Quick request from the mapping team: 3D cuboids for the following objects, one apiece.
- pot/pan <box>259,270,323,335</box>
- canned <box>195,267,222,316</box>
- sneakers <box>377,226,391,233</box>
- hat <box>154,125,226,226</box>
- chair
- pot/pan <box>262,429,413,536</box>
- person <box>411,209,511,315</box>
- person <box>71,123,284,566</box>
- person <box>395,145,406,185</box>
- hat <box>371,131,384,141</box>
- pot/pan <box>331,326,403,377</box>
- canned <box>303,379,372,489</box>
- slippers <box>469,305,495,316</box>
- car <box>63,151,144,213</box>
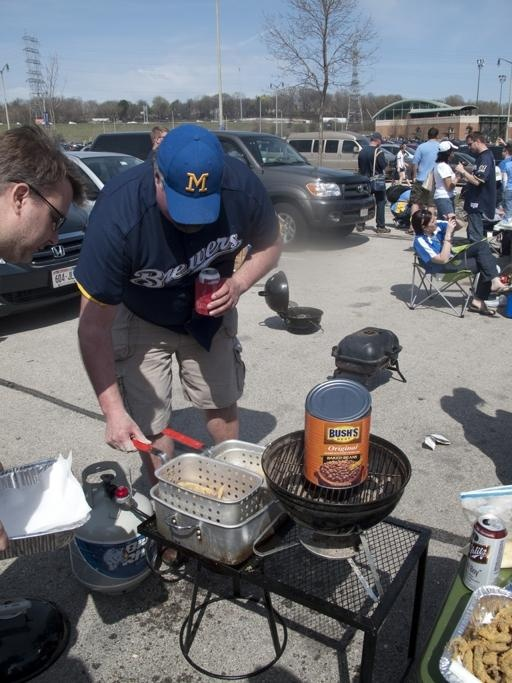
[{"bbox_3d":[0.337,-0.397,5.391,0.727,0.592,0.432,-4,18,-11],"label":"pot/pan"},{"bbox_3d":[-0.160,-0.179,1.884,0.111,0.166,0.095,-7,19,-19],"label":"canned"},{"bbox_3d":[2.746,-2.359,11.298,0.338,0.137,0.140,-5,24,-18],"label":"sneakers"},{"bbox_3d":[-0.195,-0.498,1.600,0.196,0.286,0.174,-3,18,-6],"label":"hat"},{"bbox_3d":[2.306,-0.829,6.429,0.858,1.004,0.794,13,18,33],"label":"chair"},{"bbox_3d":[0.204,0.380,1.418,0.414,0.153,0.407,0,23,3],"label":"pot/pan"},{"bbox_3d":[2.281,-0.884,6.071,0.795,1.170,0.933,-13,22,-33],"label":"person"},{"bbox_3d":[-0.277,0.120,2.058,0.620,1.744,0.836,2,19,9],"label":"person"},{"bbox_3d":[4.465,-5.463,16.458,0.290,1.120,0.861,4,19,13],"label":"person"},{"bbox_3d":[2.587,-4.403,11.498,0.436,0.176,0.618,4,24,12],"label":"hat"},{"bbox_3d":[0.856,0.130,4.176,0.379,0.364,0.557,16,24,40],"label":"pot/pan"},{"bbox_3d":[0.200,0.242,1.337,0.152,0.216,0.143,-15,27,-30],"label":"canned"},{"bbox_3d":[2.637,-0.380,6.233,0.219,0.085,0.122,18,35,39],"label":"slippers"},{"bbox_3d":[-2.194,-2.542,8.497,0.872,0.732,1.564,16,9,-26],"label":"car"}]
